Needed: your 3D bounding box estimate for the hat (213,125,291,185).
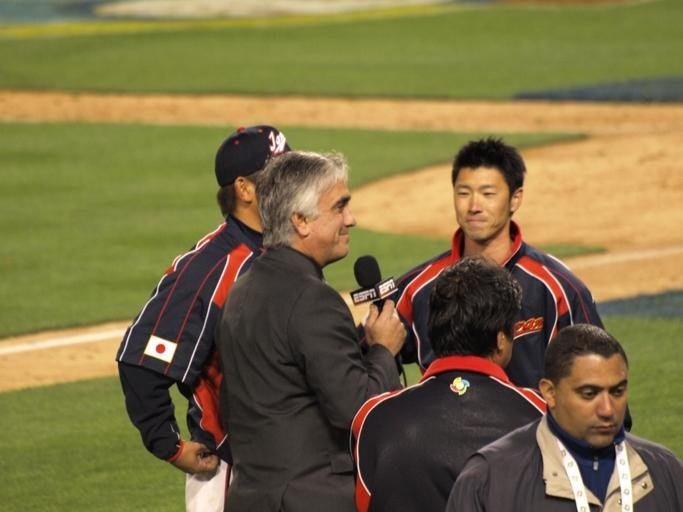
[{"bbox_3d":[-1.292,-1.340,19.793,0.979,0.583,0.705,-31,10,0],"label":"hat"}]
